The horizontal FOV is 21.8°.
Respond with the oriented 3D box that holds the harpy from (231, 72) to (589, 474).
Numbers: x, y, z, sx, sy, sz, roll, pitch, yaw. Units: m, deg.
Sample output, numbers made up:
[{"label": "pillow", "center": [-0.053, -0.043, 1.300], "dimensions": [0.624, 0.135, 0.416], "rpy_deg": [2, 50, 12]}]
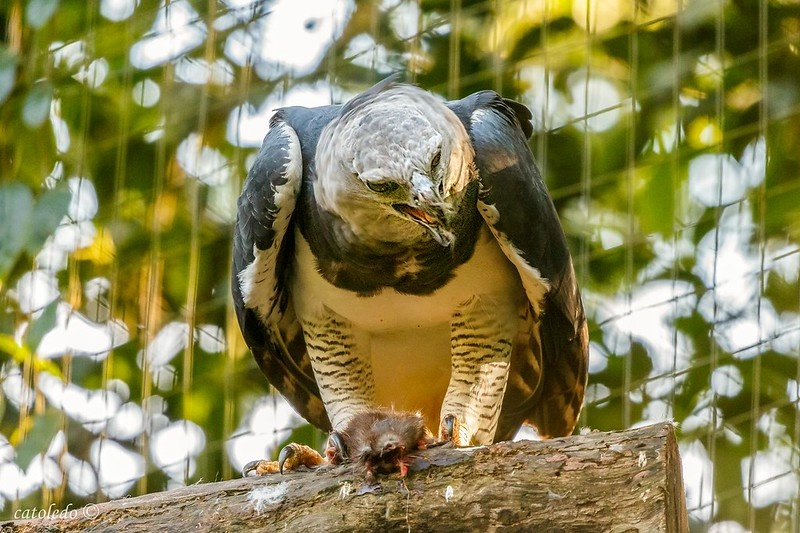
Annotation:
[{"label": "harpy", "center": [0.065, 0.115, 13.427], "dimensions": [2.092, 2.593, 1.183], "rpy_deg": [-14, 11, 4]}]
